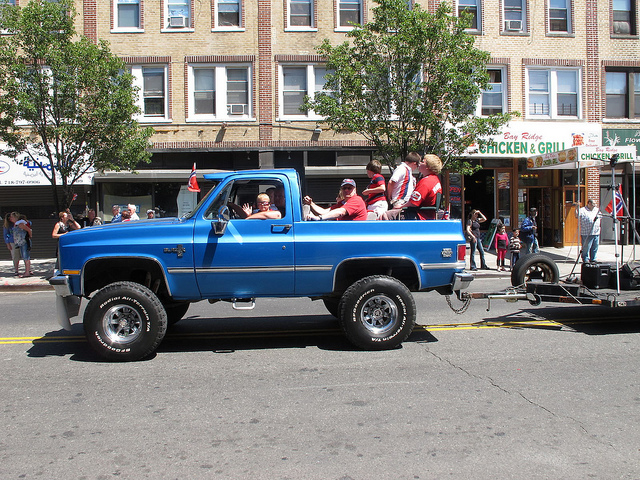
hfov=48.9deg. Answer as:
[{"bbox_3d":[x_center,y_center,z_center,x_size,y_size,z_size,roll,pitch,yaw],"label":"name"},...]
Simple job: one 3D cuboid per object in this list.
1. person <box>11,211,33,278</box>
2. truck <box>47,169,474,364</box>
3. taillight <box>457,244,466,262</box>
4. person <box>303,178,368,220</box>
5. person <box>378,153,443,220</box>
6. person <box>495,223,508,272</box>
[{"bbox_3d":[-8.835,0.129,21.108,0.492,1.901,1.000,-7,14,-25],"label":"person"},{"bbox_3d":[-0.976,0.441,12.444,5.853,2.569,3.306,1,-4,-3],"label":"truck"},{"bbox_3d":[2.308,0.212,11.521,0.151,0.289,0.051,-8,14,-28],"label":"taillight"},{"bbox_3d":[0.248,-0.638,12.205,1.219,0.776,0.860,-10,11,-33],"label":"person"},{"bbox_3d":[1.625,-0.719,12.363,1.051,1.631,0.787,2,2,20],"label":"person"},{"bbox_3d":[5.614,0.285,21.838,0.321,1.318,1.541,2,13,14],"label":"person"}]
